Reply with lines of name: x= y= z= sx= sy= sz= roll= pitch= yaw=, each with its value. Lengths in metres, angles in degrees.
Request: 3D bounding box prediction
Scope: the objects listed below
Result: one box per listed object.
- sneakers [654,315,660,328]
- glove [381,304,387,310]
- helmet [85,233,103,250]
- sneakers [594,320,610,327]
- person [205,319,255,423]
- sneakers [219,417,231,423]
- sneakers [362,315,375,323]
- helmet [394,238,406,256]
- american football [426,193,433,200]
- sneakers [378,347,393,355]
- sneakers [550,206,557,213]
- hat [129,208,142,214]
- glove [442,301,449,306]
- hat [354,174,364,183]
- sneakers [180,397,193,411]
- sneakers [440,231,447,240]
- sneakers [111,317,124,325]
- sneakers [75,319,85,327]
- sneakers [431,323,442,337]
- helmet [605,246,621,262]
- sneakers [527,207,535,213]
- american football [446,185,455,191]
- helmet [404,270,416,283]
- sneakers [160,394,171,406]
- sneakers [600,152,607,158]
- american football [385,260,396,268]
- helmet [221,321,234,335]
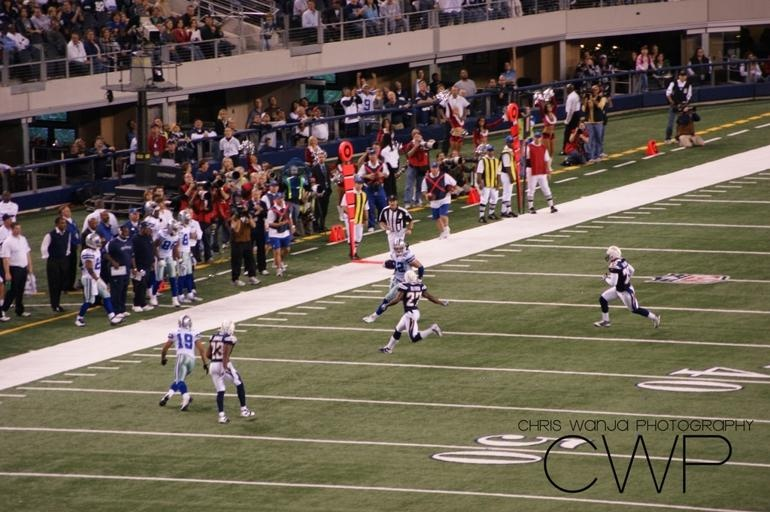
sneakers: x=7.010 y=1.685 z=43.472 sx=0.150 sy=0.358 sz=0.180 roll=3 pitch=-19 yaw=30
glove: x=-0.027 y=1.325 z=43.961 sx=0.121 sy=0.135 sz=0.138 roll=8 pitch=-3 yaw=-10
helmet: x=-7.959 y=-0.403 z=45.095 sx=0.460 sy=0.346 sz=0.344 roll=-6 pitch=19 yaw=10
sneakers: x=5.729 y=1.766 z=43.970 sx=0.473 sy=0.181 sz=0.160 roll=4 pitch=-1 yaw=10
person: x=-3.747 y=2.734 z=40.016 sx=0.970 sy=2.467 sz=0.862 roll=-1 pitch=7 yaw=17
sneakers: x=-3.855 y=3.895 z=40.000 sx=0.265 sy=0.155 sz=0.132 roll=0 pitch=11 yaw=29
sneakers: x=-0.429 y=1.668 z=44.759 sx=0.148 sy=0.150 sz=0.376 roll=-10 pitch=11 yaw=-38
helmet: x=0.374 y=-0.232 z=43.692 sx=0.359 sy=0.322 sz=0.415 roll=1 pitch=4 yaw=12
american football: x=1.313 y=-1.764 z=49.946 sx=0.179 sy=0.219 sz=0.271 roll=-2 pitch=6 yaw=3
sneakers: x=0.007 y=2.408 z=42.967 sx=0.356 sy=0.143 sz=0.118 roll=7 pitch=45 yaw=11
sneakers: x=5.342 y=-1.489 z=53.053 sx=0.227 sy=0.207 sz=0.414 roll=-1 pitch=5 yaw=10
hat: x=-7.113 y=-1.273 z=47.548 sx=0.381 sy=0.147 sz=0.498 roll=0 pitch=6 yaw=-27
glove: x=1.560 y=1.246 z=44.069 sx=0.136 sy=0.066 sz=0.201 roll=0 pitch=12 yaw=3
hat: x=-0.797 y=-2.304 z=50.129 sx=0.170 sy=0.257 sz=0.435 roll=-2 pitch=5 yaw=5
sneakers: x=-4.862 y=3.564 z=40.707 sx=0.202 sy=0.398 sz=0.157 roll=31 pitch=18 yaw=8
sneakers: x=1.827 y=-0.629 z=51.011 sx=0.188 sy=0.201 sz=0.314 roll=2 pitch=7 yaw=39
sneakers: x=-7.307 y=1.719 z=45.406 sx=0.136 sy=0.222 sz=0.320 roll=2 pitch=7 yaw=37
sneakers: x=-8.292 y=1.792 z=45.393 sx=0.284 sy=0.204 sz=0.187 roll=-3 pitch=6 yaw=-12
sneakers: x=1.337 y=1.896 z=42.829 sx=0.159 sy=0.197 sz=0.439 roll=46 pitch=-1 yaw=31
helmet: x=6.011 y=-0.040 z=44.188 sx=0.433 sy=0.373 sz=0.339 roll=19 pitch=25 yaw=31
sneakers: x=4.629 y=-1.447 z=53.089 sx=0.237 sy=0.181 sz=0.477 roll=-2 pitch=0 yaw=-8
american football: x=1.947 y=-2.014 z=49.834 sx=0.157 sy=0.191 sz=0.190 roll=31 pitch=5 yaw=39
helmet: x=0.624 y=0.504 z=42.324 sx=0.290 sy=0.285 sz=0.298 roll=6 pitch=-4 yaw=-19
sneakers: x=-5.396 y=3.498 z=40.747 sx=0.324 sy=0.121 sz=0.195 roll=-32 pitch=11 yaw=34
sneakers: x=7.698 y=-3.544 z=59.112 sx=0.248 sy=0.096 sz=0.303 roll=1 pitch=7 yaw=2
american football: x=0.050 y=0.223 z=43.502 sx=0.244 sy=0.177 sz=0.232 roll=7 pitch=13 yaw=26
helmet: x=-3.775 y=1.683 z=39.684 sx=0.313 sy=0.312 sz=0.489 roll=-3 pitch=6 yaw=-6
